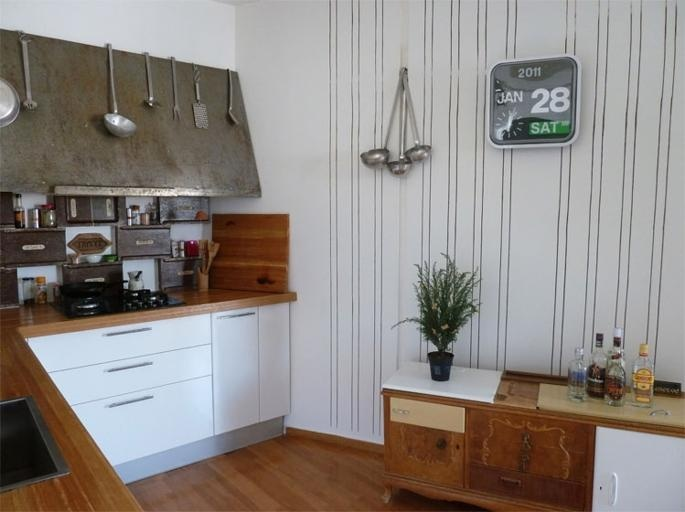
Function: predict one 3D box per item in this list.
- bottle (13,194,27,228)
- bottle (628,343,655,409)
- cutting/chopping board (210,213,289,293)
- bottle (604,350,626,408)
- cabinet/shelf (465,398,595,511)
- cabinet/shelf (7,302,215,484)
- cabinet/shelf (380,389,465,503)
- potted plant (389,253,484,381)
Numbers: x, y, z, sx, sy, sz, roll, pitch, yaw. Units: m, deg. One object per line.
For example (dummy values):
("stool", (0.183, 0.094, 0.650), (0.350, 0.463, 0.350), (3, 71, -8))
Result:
("bottle", (-2.101, -0.291, 3.403), (0.062, 0.215, 0.089), (-4, 14, -18))
("bottle", (1.635, 0.629, 2.836), (0.111, 0.321, 0.190), (9, 16, 32))
("cutting/chopping board", (-0.678, -0.013, 3.935), (0.562, 0.507, 0.066), (2, 1, 26))
("bottle", (1.500, 0.643, 2.872), (0.109, 0.288, 0.223), (8, 15, 30))
("cabinet/shelf", (1.018, 1.103, 2.867), (0.771, 0.578, 0.451), (2, 3, 24))
("cabinet/shelf", (-1.453, 0.759, 3.603), (1.416, 1.366, 0.907), (-6, 12, -35))
("cabinet/shelf", (0.542, 1.128, 3.183), (0.537, 0.572, 0.327), (1, -7, 26))
("potted plant", (0.576, 0.369, 3.296), (0.549, 0.674, 0.499), (4, 14, 16))
